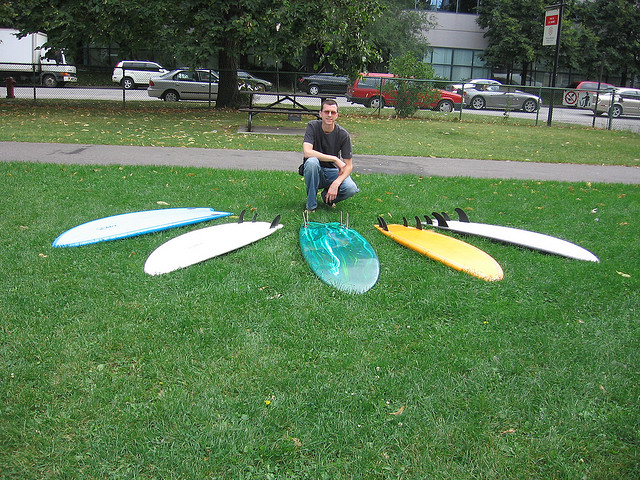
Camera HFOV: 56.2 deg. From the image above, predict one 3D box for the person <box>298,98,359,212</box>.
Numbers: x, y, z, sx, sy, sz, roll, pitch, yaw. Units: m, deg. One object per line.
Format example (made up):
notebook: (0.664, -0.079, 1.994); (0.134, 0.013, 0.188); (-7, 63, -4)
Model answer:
person: (0.111, -1.079, 7.788); (0.672, 1.474, 0.694); (15, 19, 40)

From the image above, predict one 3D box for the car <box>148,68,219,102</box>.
car: (-5.331, -6.116, 23.627); (2.630, 1.322, 2.704); (-2, 16, -20)

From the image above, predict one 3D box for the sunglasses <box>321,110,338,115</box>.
sunglasses: (0.122, -1.568, 7.367); (0.161, 0.055, 0.085); (3, 15, -1)

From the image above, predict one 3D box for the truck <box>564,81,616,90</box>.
truck: (13.922, -8.043, 31.199); (1.733, 0.417, 7.969); (10, 17, 21)

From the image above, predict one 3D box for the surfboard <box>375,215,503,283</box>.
surfboard: (1.417, 0.082, 6.970); (0.488, 0.268, 1.722); (-6, 19, -20)

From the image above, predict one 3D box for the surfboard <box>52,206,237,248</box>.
surfboard: (-2.084, -0.205, 7.313); (2.147, 0.176, 0.632); (-7, 20, -38)

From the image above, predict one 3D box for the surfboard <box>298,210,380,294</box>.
surfboard: (0.213, 0.164, 6.738); (0.837, 0.357, 1.507); (1, 16, -7)

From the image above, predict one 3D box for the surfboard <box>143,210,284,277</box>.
surfboard: (-1.277, -0.012, 6.848); (0.665, 0.399, 1.741); (17, 20, 41)
